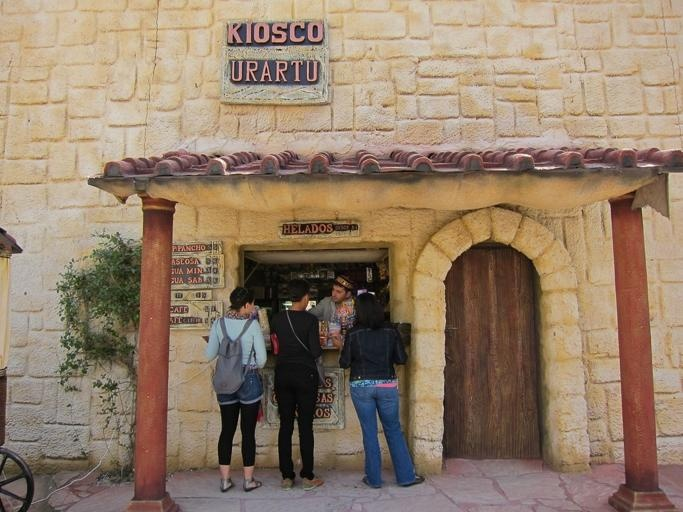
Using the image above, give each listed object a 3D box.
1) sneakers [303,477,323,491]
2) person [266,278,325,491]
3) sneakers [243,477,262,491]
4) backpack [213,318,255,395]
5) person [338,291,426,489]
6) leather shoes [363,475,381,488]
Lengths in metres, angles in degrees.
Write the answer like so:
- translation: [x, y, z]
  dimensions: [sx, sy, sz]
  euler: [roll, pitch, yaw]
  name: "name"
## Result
- translation: [-0.328, 2.563, 8.979]
  dimensions: [0.094, 0.089, 0.236]
  euler: [-1, -1, 40]
  name: "sneakers"
- translation: [-0.515, 1.440, 9.071]
  dimensions: [0.552, 2.339, 0.376]
  euler: [0, -10, -5]
  name: "person"
- translation: [-0.999, 2.565, 8.996]
  dimensions: [0.099, 0.095, 0.222]
  euler: [2, 3, 27]
  name: "sneakers"
- translation: [-1.202, 1.111, 8.881]
  dimensions: [0.435, 0.868, 0.179]
  euler: [0, -10, -4]
  name: "backpack"
- translation: [0.400, 1.513, 9.073]
  dimensions: [0.819, 2.191, 0.342]
  euler: [-1, -10, -2]
  name: "person"
- translation: [0.333, 2.560, 9.079]
  dimensions: [0.246, 0.098, 0.083]
  euler: [8, 4, 41]
  name: "leather shoes"
